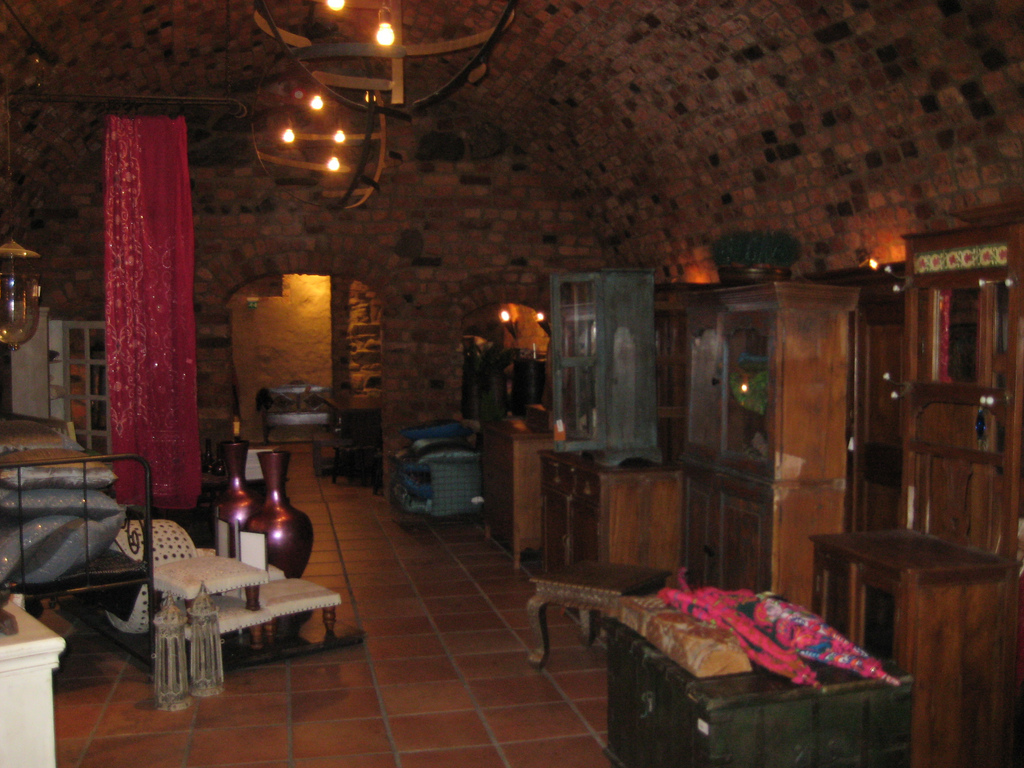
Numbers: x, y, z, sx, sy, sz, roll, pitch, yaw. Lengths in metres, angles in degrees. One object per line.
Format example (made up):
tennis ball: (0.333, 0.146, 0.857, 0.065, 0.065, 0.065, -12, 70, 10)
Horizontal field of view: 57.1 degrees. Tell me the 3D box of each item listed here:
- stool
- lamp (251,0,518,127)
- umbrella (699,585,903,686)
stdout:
stool: (-1.666, 1.345, 6.091, 0.806, 0.275, 0.778, 1, 3, -41)
lamp: (-0.665, -1.730, 5.183, 1.274, 0.573, 1.248, -12, 16, -39)
umbrella: (1.375, 1.174, 4.497, 0.946, 0.166, 0.307, 25, 21, 34)
